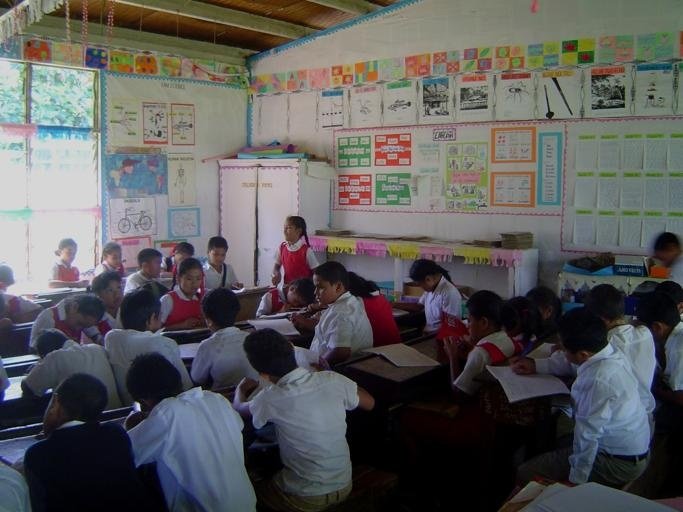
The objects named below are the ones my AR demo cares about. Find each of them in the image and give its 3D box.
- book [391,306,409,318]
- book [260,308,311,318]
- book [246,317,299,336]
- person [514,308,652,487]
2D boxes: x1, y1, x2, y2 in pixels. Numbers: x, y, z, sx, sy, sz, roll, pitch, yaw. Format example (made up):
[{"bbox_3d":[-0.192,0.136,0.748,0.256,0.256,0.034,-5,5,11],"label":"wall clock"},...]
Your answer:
[{"bbox_3d":[0.504,0.472,4.455,0.134,0.031,0.124,-3,6,-42],"label":"book"},{"bbox_3d":[-0.429,0.445,4.147,0.331,0.047,0.046,-12,-2,35],"label":"book"},{"bbox_3d":[-0.488,0.499,3.771,0.210,0.071,0.200,-1,4,-44],"label":"book"},{"bbox_3d":[1.194,0.667,2.451,0.490,0.844,0.270,-4,5,-36],"label":"person"}]
